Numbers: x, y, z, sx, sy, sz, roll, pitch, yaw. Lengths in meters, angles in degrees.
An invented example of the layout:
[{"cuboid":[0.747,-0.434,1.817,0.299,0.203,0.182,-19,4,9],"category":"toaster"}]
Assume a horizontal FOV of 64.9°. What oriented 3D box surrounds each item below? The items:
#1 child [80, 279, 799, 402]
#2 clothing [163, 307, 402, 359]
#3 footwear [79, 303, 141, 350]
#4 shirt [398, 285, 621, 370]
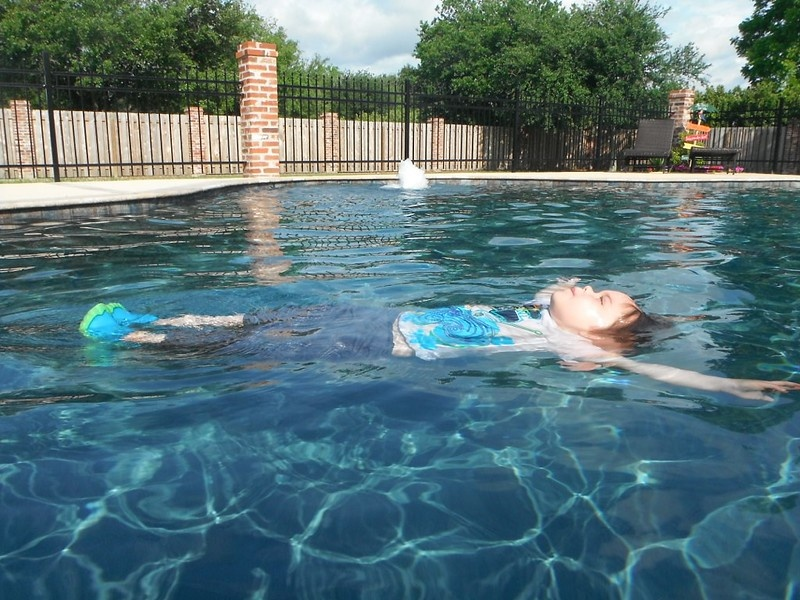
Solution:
[{"cuboid":[0.408,0.170,3.223,1.731,0.197,1.091,-5,11,1],"category":"child"},{"cuboid":[-0.650,0.132,3.172,0.974,0.162,0.365,1,9,2],"category":"clothing"},{"cuboid":[-1.420,0.106,3.059,0.254,0.157,0.211,-4,15,-15],"category":"footwear"},{"cuboid":[0.390,0.144,3.107,0.739,0.092,0.501,-3,22,-1],"category":"shirt"}]
